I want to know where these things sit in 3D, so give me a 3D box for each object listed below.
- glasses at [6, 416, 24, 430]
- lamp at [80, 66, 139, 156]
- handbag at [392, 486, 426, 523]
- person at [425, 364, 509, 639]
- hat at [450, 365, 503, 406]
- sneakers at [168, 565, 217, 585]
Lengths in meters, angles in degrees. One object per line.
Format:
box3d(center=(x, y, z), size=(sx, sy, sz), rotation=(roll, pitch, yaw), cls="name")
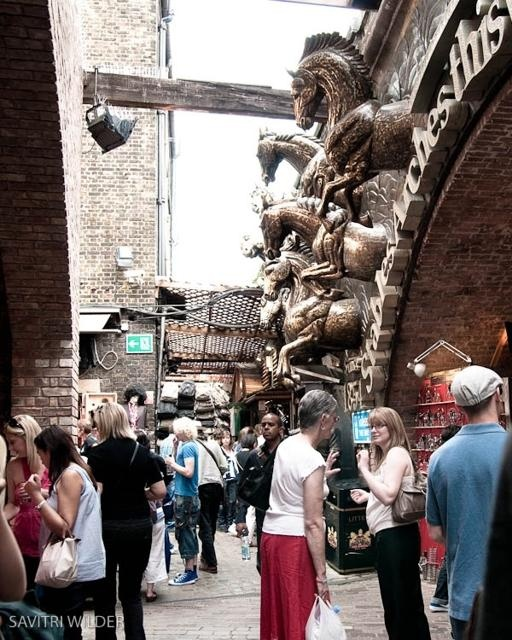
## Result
box3d(center=(-1.544, 0.677, 4.880), size=(0.090, 0.033, 0.100), rotation=(8, -22, 29), cls="glasses")
box3d(center=(-1.846, -2.819, 9.663), size=(0.615, 1.417, 1.640), rotation=(0, -7, -11), cls="lamp")
box3d(center=(0.825, 1.001, 4.108), size=(0.210, 0.183, 0.104), rotation=(5, -11, -35), cls="handbag")
box3d(center=(0.914, 0.785, 3.159), size=(0.302, 1.184, 0.465), rotation=(0, -7, -6), cls="person")
box3d(center=(0.950, 0.254, 3.221), size=(0.158, 0.107, 0.212), rotation=(2, 24, 43), cls="hat")
box3d(center=(-0.675, 2.550, 7.493), size=(0.372, 0.139, 0.122), rotation=(9, -17, -34), cls="sneakers")
